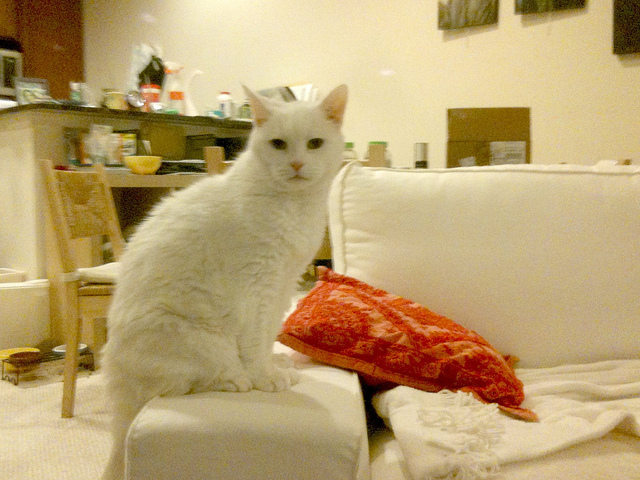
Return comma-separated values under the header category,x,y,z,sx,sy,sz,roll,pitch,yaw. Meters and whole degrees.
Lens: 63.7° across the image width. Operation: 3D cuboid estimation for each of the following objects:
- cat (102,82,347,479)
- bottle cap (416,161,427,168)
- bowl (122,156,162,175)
category,x,y,z,sx,sy,sz,roll,pitch,yaw
cat,-0.230,0.056,1.402,0.711,0.964,0.447,-4,14,-19
bottle cap,0.632,-0.477,3.237,0.053,0.031,0.049,2,-1,10
bowl,-1.014,-0.416,2.976,0.145,0.074,0.137,-3,5,0
